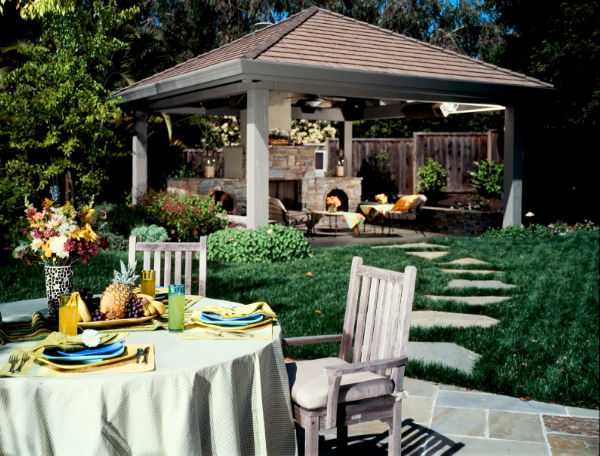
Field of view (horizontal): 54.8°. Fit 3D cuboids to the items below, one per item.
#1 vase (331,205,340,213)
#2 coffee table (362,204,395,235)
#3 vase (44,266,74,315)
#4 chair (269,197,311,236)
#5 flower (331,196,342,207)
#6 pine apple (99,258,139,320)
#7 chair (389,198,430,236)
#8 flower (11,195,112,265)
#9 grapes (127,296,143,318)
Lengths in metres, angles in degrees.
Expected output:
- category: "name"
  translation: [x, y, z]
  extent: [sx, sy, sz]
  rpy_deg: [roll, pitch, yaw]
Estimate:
- category: "vase"
  translation: [0.807, -0.432, 13.462]
  extent: [0.231, 0.208, 0.130]
  rpy_deg: [0, -1, -39]
- category: "coffee table"
  translation: [1.941, -0.316, 14.261]
  extent: [0.602, 0.728, 0.836]
  rpy_deg: [-2, 5, -11]
- category: "vase"
  translation: [-1.490, 0.348, 3.575]
  extent: [0.130, 0.359, 0.187]
  rpy_deg: [1, 7, -17]
- category: "chair"
  translation: [-0.262, -0.233, 12.947]
  extent: [0.761, 1.082, 0.748]
  rpy_deg: [-3, 10, -40]
- category: "flower"
  translation: [0.869, -0.635, 13.901]
  extent: [0.229, 0.084, 0.224]
  rpy_deg: [19, 3, -23]
- category: "pine apple"
  translation: [-1.113, 0.410, 3.630]
  extent: [0.129, 0.420, 0.158]
  rpy_deg: [1, -35, 17]
- category: "chair"
  translation: [2.634, -0.335, 14.369]
  extent: [0.876, 1.310, 0.883]
  rpy_deg: [0, 2, -6]
- category: "flower"
  translation: [-1.490, 0.018, 3.693]
  extent: [0.420, 0.635, 0.445]
  rpy_deg: [1, 6, -26]
- category: "grapes"
  translation: [-1.026, 0.498, 3.615]
  extent: [0.057, 0.074, 0.143]
  rpy_deg: [6, 20, -6]
